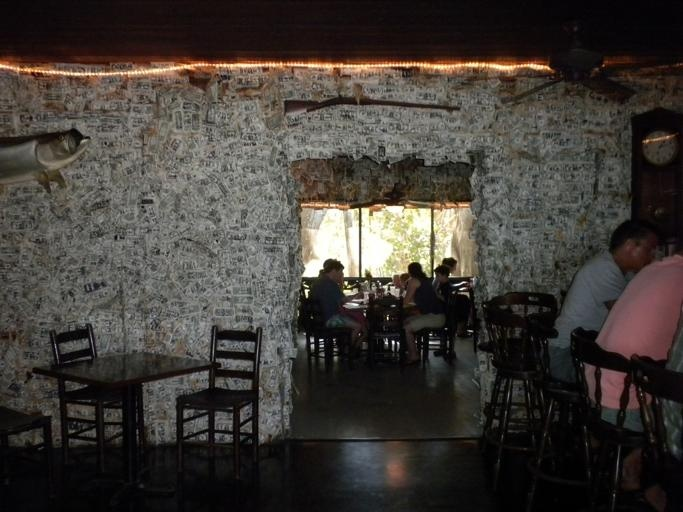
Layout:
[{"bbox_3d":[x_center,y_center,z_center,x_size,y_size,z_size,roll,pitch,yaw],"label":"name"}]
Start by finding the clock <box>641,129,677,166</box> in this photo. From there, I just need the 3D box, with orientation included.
[{"bbox_3d":[2.901,-0.991,5.720,0.321,0.314,0.064,-2,7,-10],"label":"clock"}]

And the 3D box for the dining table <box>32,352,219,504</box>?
[{"bbox_3d":[-1.634,1.234,4.995,1.097,1.135,1.135,5,6,33],"label":"dining table"}]
